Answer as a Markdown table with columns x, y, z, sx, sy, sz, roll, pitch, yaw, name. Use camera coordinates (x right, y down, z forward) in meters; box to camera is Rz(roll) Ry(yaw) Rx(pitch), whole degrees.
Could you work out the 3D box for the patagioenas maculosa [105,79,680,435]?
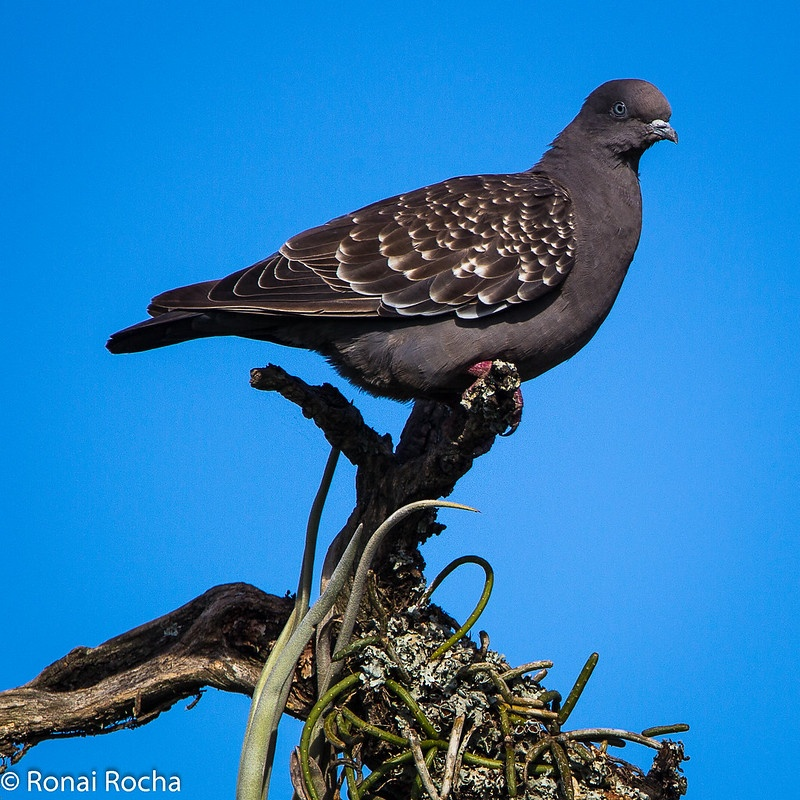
| x | y | z | sx | sy | sz | roll | pitch | yaw | name |
| --- | --- | --- | --- | --- | --- | --- | --- | --- | --- |
| -0.015 | -0.594 | 8.119 | 2.396 | 1.392 | 0.866 | 0 | -1 | 7 | patagioenas maculosa |
